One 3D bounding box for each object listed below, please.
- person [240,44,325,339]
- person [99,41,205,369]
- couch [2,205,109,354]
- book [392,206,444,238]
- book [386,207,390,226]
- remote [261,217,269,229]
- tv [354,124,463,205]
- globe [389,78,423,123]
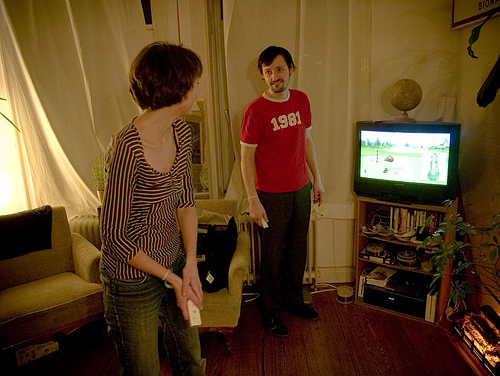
[{"bbox_3d":[0.269,0.048,2.920,0.395,2.114,0.603,10,17,43],"label":"person"},{"bbox_3d":[-0.449,0.089,1.781,0.512,1.451,0.291,-7,13,-24],"label":"person"},{"bbox_3d":[-1.440,0.704,2.809,0.803,0.927,0.609,-17,22,-36],"label":"couch"},{"bbox_3d":[1.299,0.221,3.084,0.364,0.210,0.375,-6,14,-44],"label":"book"},{"bbox_3d":[1.154,0.241,3.225,0.025,0.118,0.106,3,8,16],"label":"book"},{"bbox_3d":[0.107,0.252,2.819,0.030,0.094,0.071,4,14,24],"label":"remote"},{"bbox_3d":[1.251,-0.254,3.164,0.954,0.838,0.545,7,13,27],"label":"tv"},{"bbox_3d":[1.235,-0.700,3.066,0.243,0.373,0.249,-9,18,-11],"label":"globe"}]
